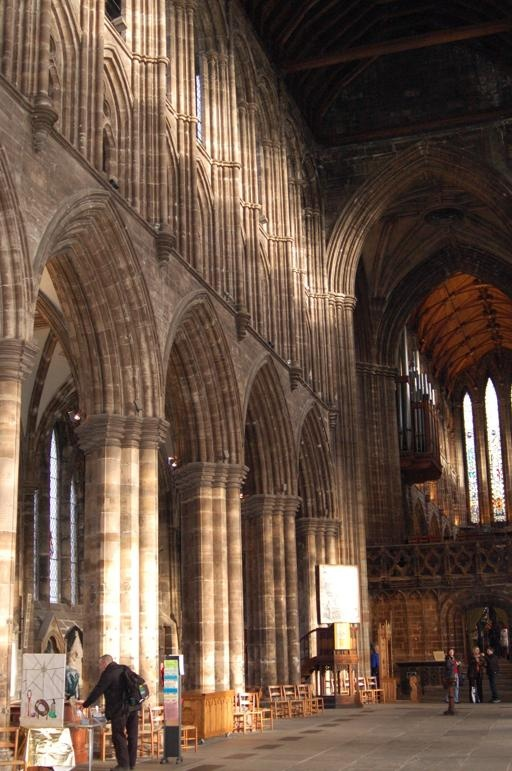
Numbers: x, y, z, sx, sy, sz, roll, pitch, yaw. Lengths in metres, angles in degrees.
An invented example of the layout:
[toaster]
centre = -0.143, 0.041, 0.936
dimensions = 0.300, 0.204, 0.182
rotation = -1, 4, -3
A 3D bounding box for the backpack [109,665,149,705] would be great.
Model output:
[backpack]
centre = -1.179, 2.894, 10.444
dimensions = 0.195, 0.385, 0.406
rotation = -10, -18, 17
